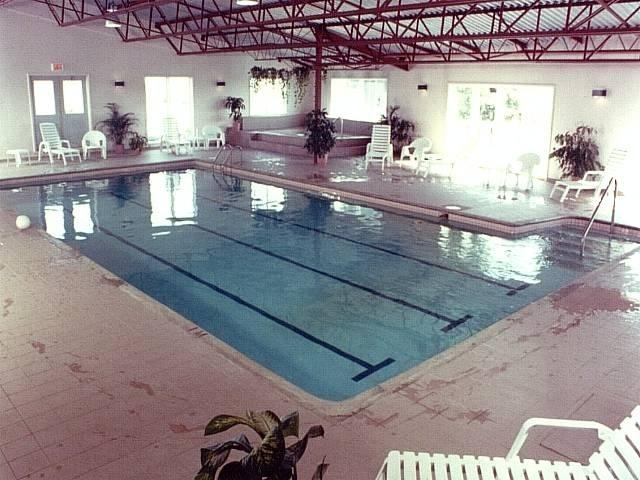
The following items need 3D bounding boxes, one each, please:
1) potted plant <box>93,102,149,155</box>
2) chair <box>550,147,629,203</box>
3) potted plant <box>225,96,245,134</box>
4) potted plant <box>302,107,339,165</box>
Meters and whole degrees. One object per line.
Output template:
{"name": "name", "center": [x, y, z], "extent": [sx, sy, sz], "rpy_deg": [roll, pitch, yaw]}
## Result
{"name": "potted plant", "center": [-7.431, -3.944, 17.259], "extent": [1.986, 1.728, 1.651], "rpy_deg": [-1, 12, -8]}
{"name": "chair", "center": [6.680, -1.588, 11.794], "extent": [1.510, 1.106, 2.679], "rpy_deg": [11, 20, 30]}
{"name": "potted plant", "center": [-3.428, -5.156, 19.744], "extent": [0.531, 1.318, 0.862], "rpy_deg": [17, 24, 39]}
{"name": "potted plant", "center": [-0.011, -3.299, 15.467], "extent": [0.932, 1.685, 1.669], "rpy_deg": [1, 18, 1]}
